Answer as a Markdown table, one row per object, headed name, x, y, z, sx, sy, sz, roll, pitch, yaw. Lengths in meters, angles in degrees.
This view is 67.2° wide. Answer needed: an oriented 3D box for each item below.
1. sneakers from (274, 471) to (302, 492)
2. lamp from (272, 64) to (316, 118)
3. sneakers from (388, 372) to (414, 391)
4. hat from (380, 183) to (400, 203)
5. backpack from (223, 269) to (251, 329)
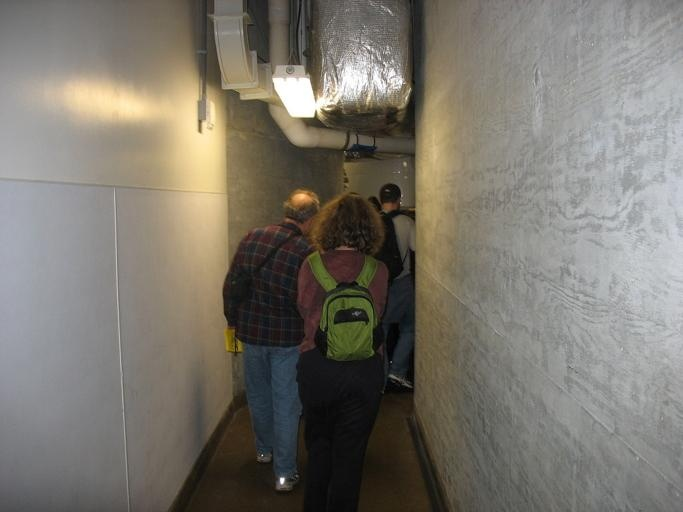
| name | x | y | z | sx | sy | sz | roll | pitch | yaw |
| --- | --- | --- | --- | --- | --- | --- | --- | --- | --- |
| sneakers | -0.302 | 1.262 | 2.904 | 0.056 | 0.077 | 0.156 | 0 | 3 | 12 |
| lamp | -0.280 | -1.001 | 3.083 | 0.188 | 0.093 | 0.371 | -2 | -12 | 6 |
| sneakers | 0.516 | 1.052 | 4.284 | 0.265 | 0.106 | 0.131 | 10 | 8 | 16 |
| hat | 0.417 | -0.546 | 4.369 | 0.177 | 0.154 | 0.311 | 6 | 9 | 9 |
| backpack | -0.597 | 0.228 | 2.859 | 0.090 | 0.290 | 0.190 | 16 | 13 | 41 |
